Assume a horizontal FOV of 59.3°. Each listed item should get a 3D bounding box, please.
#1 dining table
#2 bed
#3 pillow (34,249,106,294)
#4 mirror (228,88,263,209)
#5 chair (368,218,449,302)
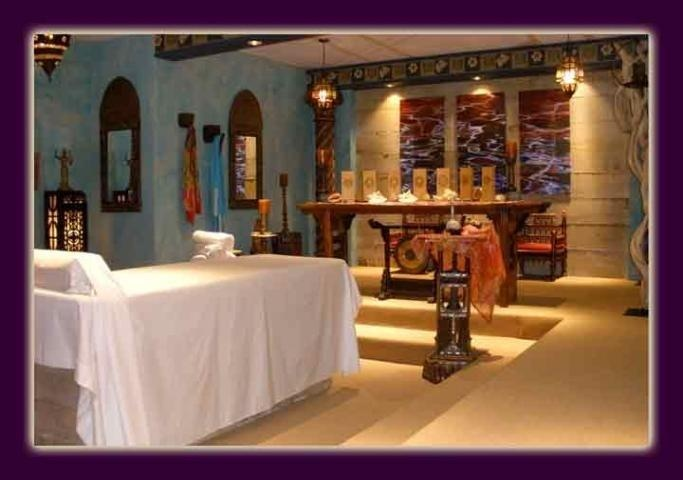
[{"bbox_3d":[0.988,0.052,7.500,2.950,1.186,0.900,-1,13,10],"label":"dining table"},{"bbox_3d":[-0.737,0.585,3.322,0.870,0.613,1.495,1,3,33],"label":"bed"},{"bbox_3d":[-1.306,0.141,2.833,0.292,0.084,0.214,6,11,15],"label":"pillow"},{"bbox_3d":[-1.450,-1.324,9.077,0.309,1.783,0.843,-4,-13,21],"label":"mirror"},{"bbox_3d":[0.862,0.238,7.404,0.989,0.990,0.589,1,12,11],"label":"chair"}]
